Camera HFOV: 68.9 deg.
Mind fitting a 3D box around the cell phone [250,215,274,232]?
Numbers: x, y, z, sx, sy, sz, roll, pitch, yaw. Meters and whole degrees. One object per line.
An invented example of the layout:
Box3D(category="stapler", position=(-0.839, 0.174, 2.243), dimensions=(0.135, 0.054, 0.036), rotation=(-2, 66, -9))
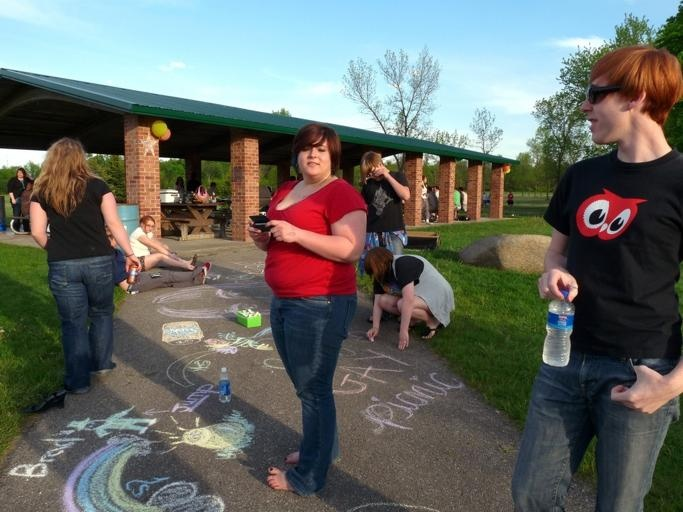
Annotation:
Box3D(category="cell phone", position=(-0.476, -0.207, 3.012), dimensions=(0.114, 0.072, 0.115), rotation=(0, 10, -26))

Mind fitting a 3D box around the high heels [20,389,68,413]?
Box3D(category="high heels", position=(-2.365, 1.174, 4.022), dimensions=(0.112, 0.143, 0.336), rotation=(8, -1, 38))

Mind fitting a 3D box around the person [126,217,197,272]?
Box3D(category="person", position=(-2.964, -0.200, 8.293), dimensions=(1.189, 0.852, 0.517), rotation=(5, 12, -23))

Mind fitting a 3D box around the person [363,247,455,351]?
Box3D(category="person", position=(0.783, 0.403, 5.648), dimensions=(1.002, 1.057, 0.712), rotation=(-10, 16, -43))

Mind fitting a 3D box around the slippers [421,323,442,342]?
Box3D(category="slippers", position=(1.035, 0.876, 5.683), dimensions=(0.194, 0.114, 0.485), rotation=(-1, -1, 16))

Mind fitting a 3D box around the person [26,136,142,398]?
Box3D(category="person", position=(-2.292, 0.052, 4.487), dimensions=(0.699, 2.106, 0.837), rotation=(5, 8, 43))

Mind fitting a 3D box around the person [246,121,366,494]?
Box3D(category="person", position=(-0.209, 0.346, 3.063), dimensions=(0.645, 2.279, 0.467), rotation=(8, 14, 30))

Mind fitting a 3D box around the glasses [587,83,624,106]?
Box3D(category="glasses", position=(1.153, -0.716, 2.191), dimensions=(0.102, 0.035, 0.096), rotation=(0, -2, 2))

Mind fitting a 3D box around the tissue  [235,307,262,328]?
Box3D(category="tissue ", position=(-1.150, 0.751, 6.117), dimensions=(0.196, 0.178, 0.337), rotation=(-3, 10, -32))
